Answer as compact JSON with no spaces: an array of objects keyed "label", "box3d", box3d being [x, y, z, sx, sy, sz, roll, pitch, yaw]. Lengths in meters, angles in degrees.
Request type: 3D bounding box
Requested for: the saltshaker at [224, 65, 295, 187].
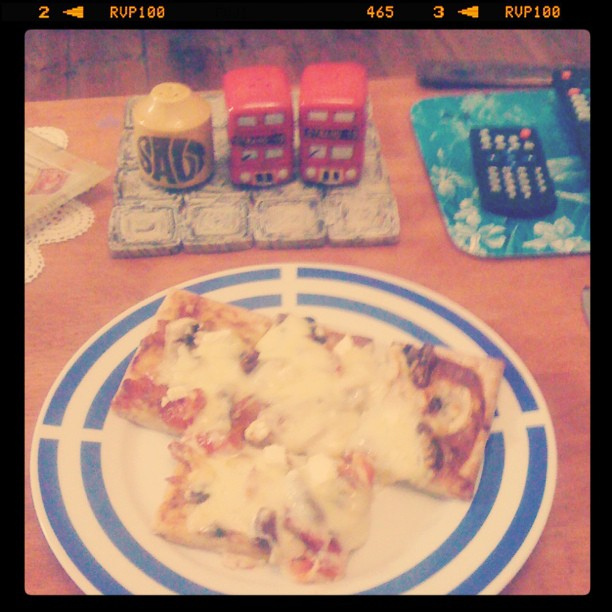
[{"label":"saltshaker","box3d":[-0.096,-0.370,1.425,0.139,0.177,0.168,-2,66,-1]}]
